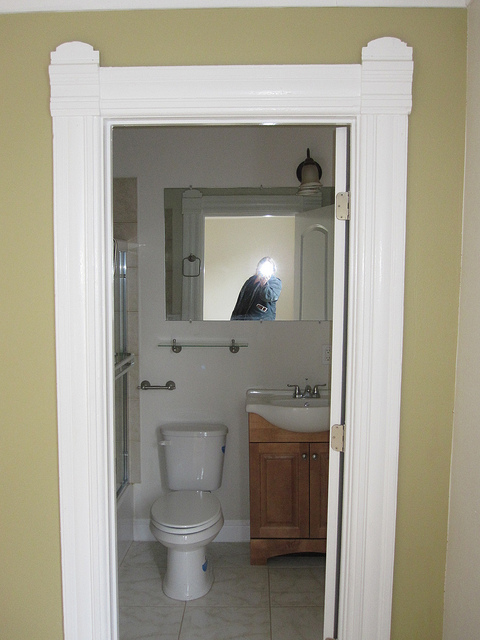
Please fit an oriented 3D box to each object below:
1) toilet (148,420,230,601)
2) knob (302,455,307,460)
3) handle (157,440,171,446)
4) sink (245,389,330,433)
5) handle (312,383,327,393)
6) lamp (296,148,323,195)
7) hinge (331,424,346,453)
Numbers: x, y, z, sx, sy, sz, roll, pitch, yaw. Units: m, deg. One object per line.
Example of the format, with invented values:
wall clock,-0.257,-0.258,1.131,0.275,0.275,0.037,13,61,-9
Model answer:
toilet,-0.207,0.826,3.097,0.364,0.620,0.614,-1,7,-5
knob,0.285,0.599,3.032,0.013,0.019,0.026,5,-4,-1
handle,-0.341,0.565,3.190,0.054,0.032,0.016,5,8,35
sink,0.223,0.403,3.135,0.391,0.146,0.385,0,7,1
handle,0.375,0.321,3.244,0.067,0.044,0.027,-1,2,-1
lamp,0.331,-0.687,3.241,0.141,0.235,0.141,-1,-10,-5
hinge,0.285,0.340,1.985,0.037,0.082,0.019,2,7,20
